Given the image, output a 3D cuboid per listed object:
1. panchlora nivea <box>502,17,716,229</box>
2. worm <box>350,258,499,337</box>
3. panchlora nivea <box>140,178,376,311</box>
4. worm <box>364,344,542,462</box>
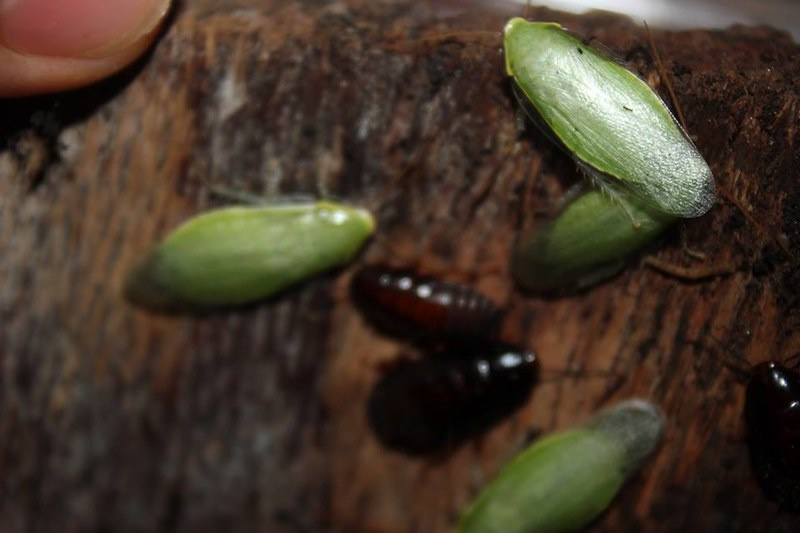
[{"bbox_3d":[0.511,-0.365,2.183,0.655,0.166,0.218,45,62,11],"label":"panchlora nivea"},{"bbox_3d":[0.066,0.103,2.227,0.388,0.078,0.133,17,60,-4],"label":"worm"},{"bbox_3d":[-0.388,-0.029,2.292,0.703,0.229,0.296,-16,31,-3],"label":"panchlora nivea"},{"bbox_3d":[0.133,0.320,2.204,0.398,0.113,0.235,-22,93,5],"label":"worm"}]
